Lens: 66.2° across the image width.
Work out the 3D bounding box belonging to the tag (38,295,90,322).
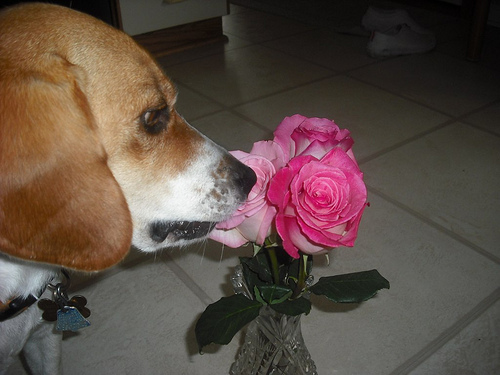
[{"bbox_3d":[-0.789,0.498,1.604,0.218,0.096,0.037,-2,7,-14],"label":"tag"}]
